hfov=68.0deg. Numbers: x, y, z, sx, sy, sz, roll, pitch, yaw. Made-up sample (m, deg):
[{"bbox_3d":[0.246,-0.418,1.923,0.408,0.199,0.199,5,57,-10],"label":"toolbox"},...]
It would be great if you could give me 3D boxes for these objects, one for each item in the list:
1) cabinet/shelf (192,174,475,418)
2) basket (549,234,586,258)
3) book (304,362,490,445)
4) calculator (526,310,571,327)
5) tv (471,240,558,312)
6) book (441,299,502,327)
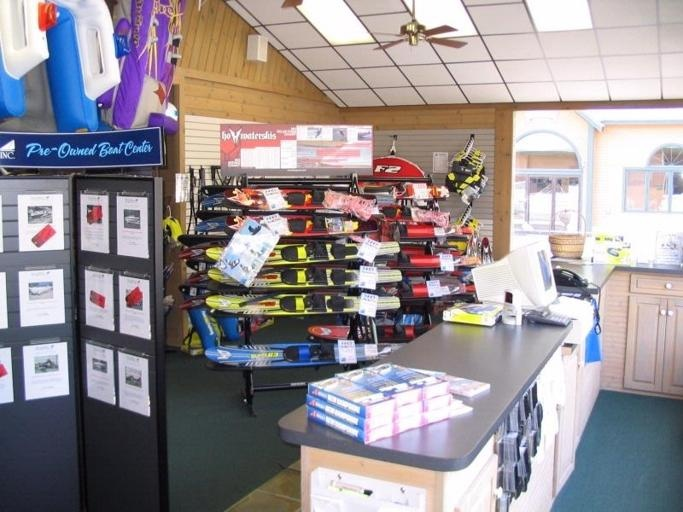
[{"bbox_3d":[0.022,0.374,5.010,3.108,1.866,0.917,0,2,-24],"label":"cabinet/shelf"},{"bbox_3d":[2.424,-0.127,5.402,0.316,0.176,0.303,2,4,34],"label":"basket"},{"bbox_3d":[0.206,0.496,1.799,0.389,0.105,0.284,-6,8,-43],"label":"book"},{"bbox_3d":[1.226,0.366,3.006,0.252,0.048,0.180,5,11,25],"label":"calculator"},{"bbox_3d":[1.118,0.118,3.320,0.494,0.457,0.489,4,14,27],"label":"tv"},{"bbox_3d":[0.818,0.339,3.100,0.329,0.082,0.405,3,10,19],"label":"book"}]
